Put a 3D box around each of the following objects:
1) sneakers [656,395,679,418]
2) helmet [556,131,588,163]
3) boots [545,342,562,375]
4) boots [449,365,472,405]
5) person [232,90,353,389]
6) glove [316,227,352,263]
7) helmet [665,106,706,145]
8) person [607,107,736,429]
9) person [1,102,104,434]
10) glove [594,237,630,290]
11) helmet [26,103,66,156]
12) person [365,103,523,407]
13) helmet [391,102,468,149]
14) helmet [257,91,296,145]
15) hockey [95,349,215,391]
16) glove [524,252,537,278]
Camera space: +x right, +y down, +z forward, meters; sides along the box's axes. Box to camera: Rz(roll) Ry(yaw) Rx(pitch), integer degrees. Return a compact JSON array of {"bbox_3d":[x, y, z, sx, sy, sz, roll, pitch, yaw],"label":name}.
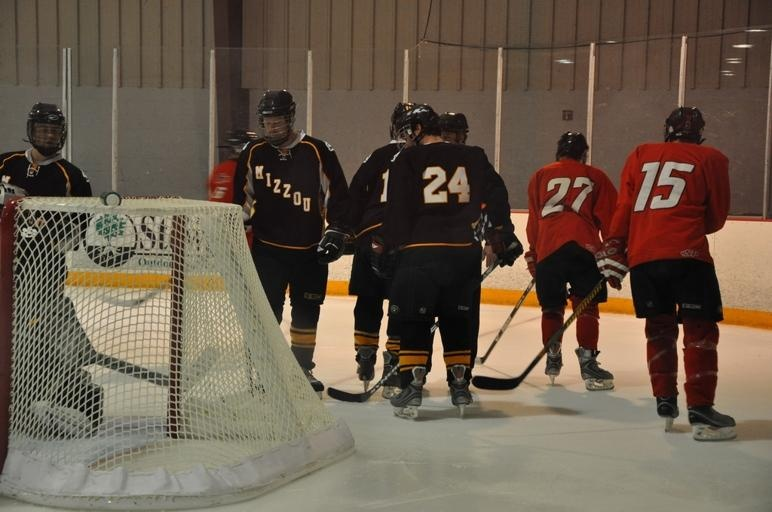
[{"bbox_3d":[1.763,0.944,6.755,0.123,0.136,0.081,3,8,8],"label":"sneakers"},{"bbox_3d":[1.342,-0.780,7.863,0.190,0.225,0.241,2,5,4],"label":"helmet"},{"bbox_3d":[1.210,0.715,7.726,0.119,0.221,0.339,3,4,12],"label":"boots"},{"bbox_3d":[0.485,0.831,7.000,0.109,0.134,0.305,-2,12,3],"label":"boots"},{"bbox_3d":[-0.645,-0.087,7.253,0.759,2.012,0.311,2,8,2],"label":"person"},{"bbox_3d":[-0.351,-0.068,7.207,0.100,0.229,0.194,41,-23,-22],"label":"glove"},{"bbox_3d":[1.945,-0.834,6.984,0.297,0.250,0.238,4,15,1],"label":"helmet"},{"bbox_3d":[1.793,0.197,6.800,0.851,1.793,0.496,3,8,9],"label":"person"},{"bbox_3d":[-2.045,0.033,6.560,0.625,1.885,1.124,0,8,-15],"label":"person"},{"bbox_3d":[1.467,0.053,6.973,0.113,0.290,0.259,-5,-9,-37],"label":"glove"},{"bbox_3d":[-2.226,-0.846,7.066,0.266,0.331,0.330,4,9,-31],"label":"helmet"},{"bbox_3d":[0.414,0.131,7.066,0.853,1.732,0.495,0,8,-15],"label":"person"},{"bbox_3d":[0.298,-0.905,7.281,0.448,0.293,0.336,21,20,41],"label":"helmet"},{"bbox_3d":[-0.711,-0.904,7.127,0.271,0.347,0.359,-2,14,8],"label":"helmet"},{"bbox_3d":[-1.398,0.630,6.418,0.559,0.224,0.359,11,-14,-14],"label":"hockey"},{"bbox_3d":[1.067,0.075,7.963,0.132,0.145,0.164,2,-27,3],"label":"glove"}]
